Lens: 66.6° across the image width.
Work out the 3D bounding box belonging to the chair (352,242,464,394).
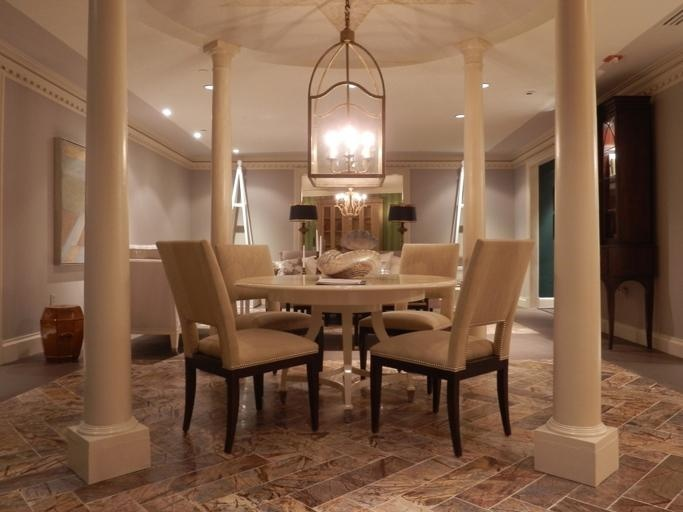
[{"bbox_3d":[0.600,0.408,4.349,0.617,0.994,0.650,6,4,36],"label":"chair"}]

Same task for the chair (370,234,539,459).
[{"bbox_3d":[0.816,0.489,3.815,1.233,1.818,1.079,0,-2,40],"label":"chair"}]

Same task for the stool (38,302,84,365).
[{"bbox_3d":[-2.784,0.785,5.148,0.437,0.544,0.406,-2,-4,35],"label":"stool"}]

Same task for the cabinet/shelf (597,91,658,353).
[{"bbox_3d":[3.056,-0.386,5.610,0.626,2.656,0.793,3,8,25],"label":"cabinet/shelf"}]

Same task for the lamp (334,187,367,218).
[{"bbox_3d":[0.089,-1.092,10.702,0.767,0.763,0.766,2,6,12],"label":"lamp"}]

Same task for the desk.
[{"bbox_3d":[-0.077,0.613,3.883,1.494,0.877,1.475,7,0,5],"label":"desk"}]

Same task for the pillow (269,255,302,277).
[{"bbox_3d":[-0.830,0.213,8.047,0.356,0.297,0.105,-4,-18,8],"label":"pillow"}]

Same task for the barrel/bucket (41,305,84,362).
[{"bbox_3d":[-2.723,0.763,5.071,0.356,0.525,0.234,-4,8,-30],"label":"barrel/bucket"}]
